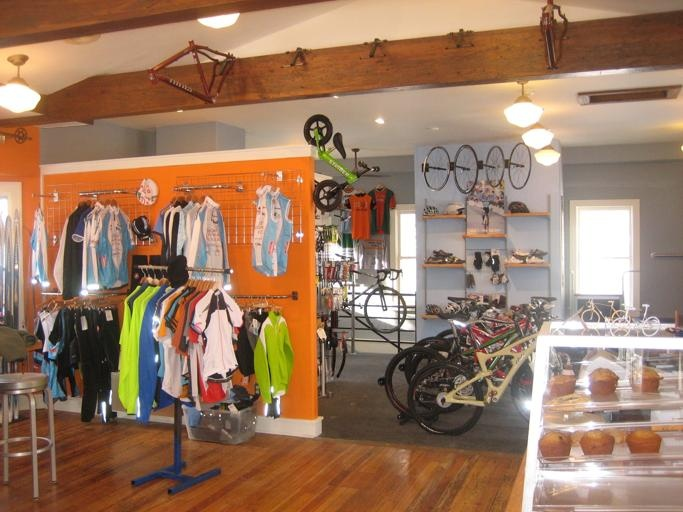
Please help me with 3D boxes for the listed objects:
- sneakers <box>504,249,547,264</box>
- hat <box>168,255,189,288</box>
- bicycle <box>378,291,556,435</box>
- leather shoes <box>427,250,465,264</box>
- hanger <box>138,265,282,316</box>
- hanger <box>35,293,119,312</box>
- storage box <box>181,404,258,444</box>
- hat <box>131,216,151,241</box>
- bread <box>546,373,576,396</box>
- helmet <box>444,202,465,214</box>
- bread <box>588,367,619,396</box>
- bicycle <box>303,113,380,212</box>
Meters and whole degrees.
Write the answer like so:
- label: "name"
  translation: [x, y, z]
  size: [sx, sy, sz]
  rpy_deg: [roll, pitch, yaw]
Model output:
- label: "sneakers"
  translation: [2.829, -0.001, 8.582]
  size: [0.574, 0.207, 0.295]
  rpy_deg: [0, 2, 20]
- label: "hat"
  translation: [-1.414, 0.132, 4.929]
  size: [0.160, 0.278, 0.188]
  rpy_deg: [-2, 3, -41]
- label: "bicycle"
  translation: [1.360, 1.129, 5.929]
  size: [2.163, 1.276, 1.077]
  rpy_deg: [-7, -2, 24]
- label: "leather shoes"
  translation: [1.627, 0.016, 8.941]
  size: [0.647, 0.244, 0.215]
  rpy_deg: [1, -5, 7]
- label: "hanger"
  translation: [-1.545, 0.308, 5.558]
  size: [1.809, 0.468, 1.069]
  rpy_deg: [1, 2, 28]
- label: "hanger"
  translation: [-2.984, 0.499, 6.166]
  size: [1.012, 0.166, 0.480]
  rpy_deg: [0, 2, 20]
- label: "storage box"
  translation: [-1.187, 1.613, 5.504]
  size: [0.512, 0.222, 0.347]
  rpy_deg: [-1, -4, 22]
- label: "hat"
  translation: [-2.169, -0.307, 6.110]
  size: [0.232, 0.261, 0.095]
  rpy_deg: [1, 2, 34]
- label: "bread"
  translation: [0.883, 0.528, 2.300]
  size: [0.108, 0.099, 0.069]
  rpy_deg: [2, -5, 1]
- label: "helmet"
  translation: [1.786, -0.764, 8.885]
  size: [0.229, 0.168, 0.181]
  rpy_deg: [27, 28, 38]
- label: "bread"
  translation: [1.053, 0.512, 2.298]
  size: [0.105, 0.083, 0.103]
  rpy_deg: [3, -8, -21]
- label: "bicycle"
  translation: [-0.116, -1.019, 5.719]
  size: [0.593, 1.196, 0.791]
  rpy_deg: [-2, -22, -20]
